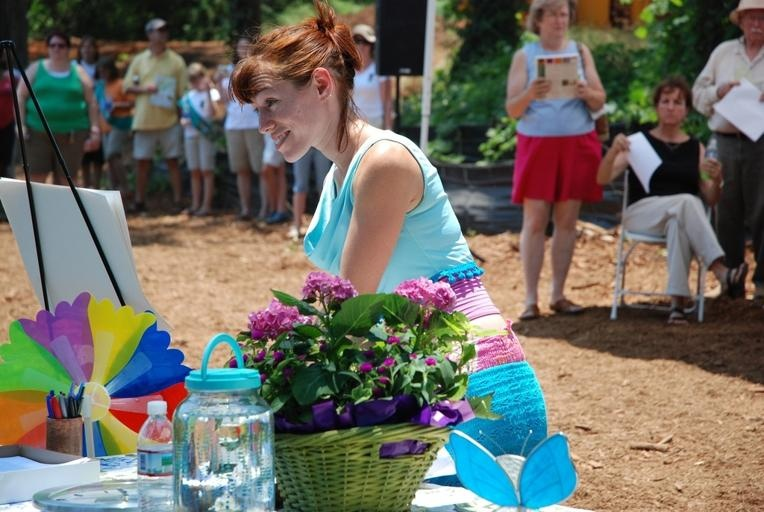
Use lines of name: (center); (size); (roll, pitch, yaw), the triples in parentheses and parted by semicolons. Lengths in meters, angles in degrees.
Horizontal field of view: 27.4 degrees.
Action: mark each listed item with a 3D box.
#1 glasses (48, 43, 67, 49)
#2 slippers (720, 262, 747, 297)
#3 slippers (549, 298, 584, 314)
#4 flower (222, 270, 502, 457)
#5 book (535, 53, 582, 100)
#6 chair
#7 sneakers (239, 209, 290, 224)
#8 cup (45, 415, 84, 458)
glasses: (-2.918, -1.898, 14.229); (0.149, 0.040, 0.051); (-3, 5, -29)
slippers: (2.008, 0.150, 9.044); (0.089, 0.266, 0.095); (6, 9, 9)
slippers: (1.099, 0.300, 9.426); (0.077, 0.067, 0.210); (-2, -3, -21)
flower: (-0.037, 0.572, 8.065); (1.299, 0.896, 1.243); (-7, 8, -23)
book: (1.036, -1.055, 9.200); (0.234, 0.234, 0.095); (-3, 8, 1)
chair: (1.585, -0.022, 9.309); (0.529, 0.774, 0.528); (4, -5, -12)
sneakers: (-1.173, -0.386, 15.744); (0.477, 0.219, 0.164); (6, -2, 12)
cup: (-1.612, 0.918, 8.052); (0.177, 0.215, 0.184); (0, -8, 0)
